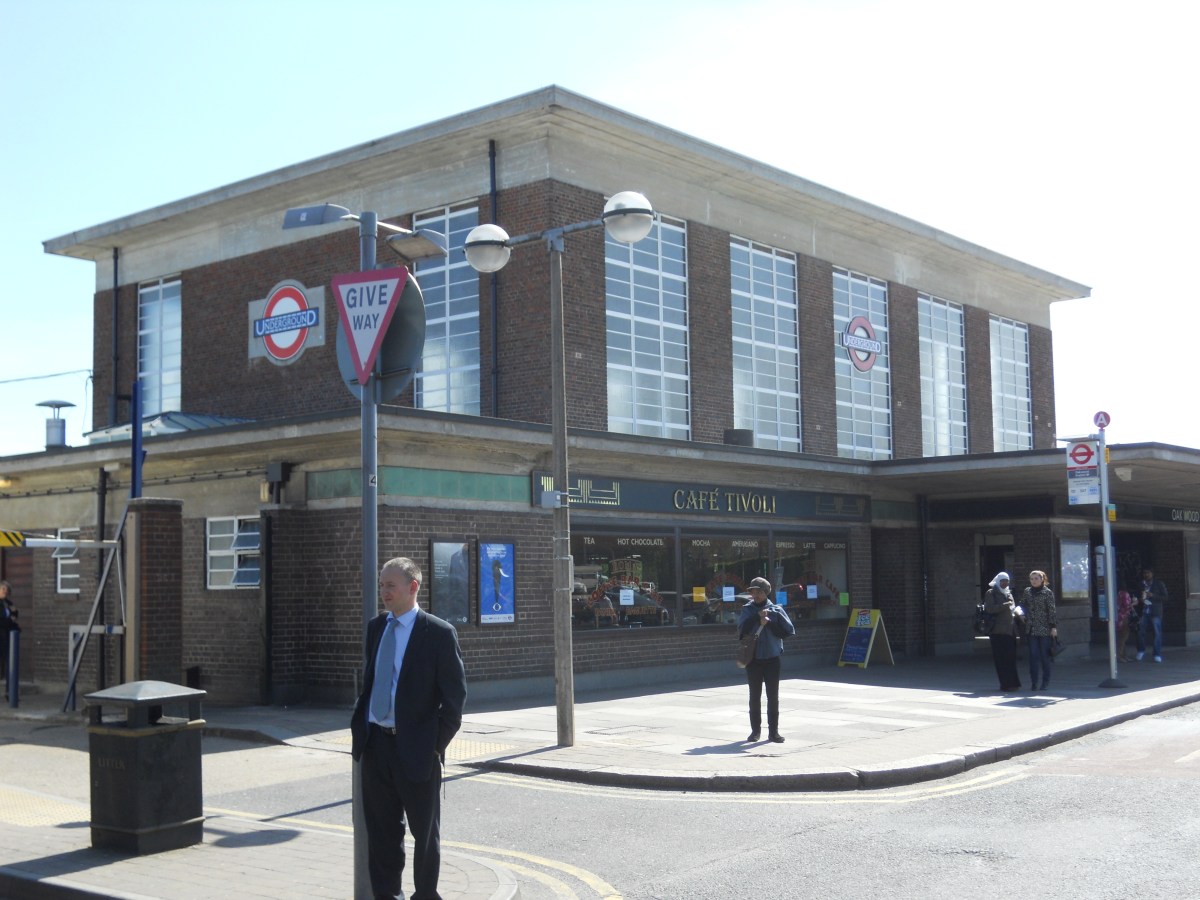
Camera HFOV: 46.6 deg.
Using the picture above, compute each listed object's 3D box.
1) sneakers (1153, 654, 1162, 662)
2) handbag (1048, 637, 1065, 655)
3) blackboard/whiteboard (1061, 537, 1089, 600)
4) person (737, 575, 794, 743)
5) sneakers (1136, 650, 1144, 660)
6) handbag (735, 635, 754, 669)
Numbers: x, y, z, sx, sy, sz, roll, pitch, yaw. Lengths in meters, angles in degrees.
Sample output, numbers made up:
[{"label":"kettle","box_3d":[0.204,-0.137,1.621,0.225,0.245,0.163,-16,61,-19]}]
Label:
[{"label":"sneakers","box_3d":[12.283,4.611,30.763,0.130,0.158,0.400,-9,-16,30]},{"label":"handbag","box_3d":[7.847,3.378,24.143,0.205,0.336,0.499,-6,-10,25]},{"label":"blackboard/whiteboard","box_3d":[11.055,2.785,32.619,0.337,1.397,1.683,-7,-11,32]},{"label":"person","box_3d":[2.241,2.857,19.029,0.654,2.202,1.054,-2,-9,6]},{"label":"sneakers","box_3d":[12.160,4.671,31.548,0.171,0.305,0.229,-1,-1,35]},{"label":"handbag","box_3d":[1.935,2.763,18.811,0.113,0.365,0.223,9,-6,-30]}]
